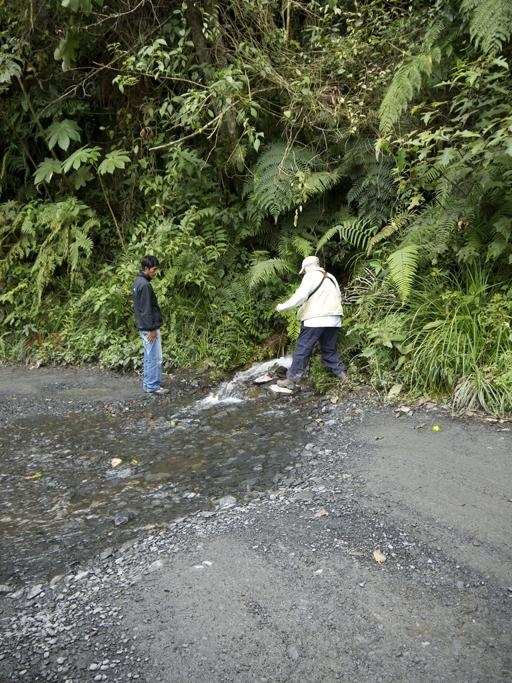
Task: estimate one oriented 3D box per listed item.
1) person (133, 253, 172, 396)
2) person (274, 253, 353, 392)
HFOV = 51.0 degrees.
[{"bbox_3d":[-1.329,-0.205,6.743,0.346,1.729,0.387,-12,14,-29],"label":"person"},{"bbox_3d":[0.634,-0.190,6.196,0.769,1.508,0.533,-2,13,14],"label":"person"}]
